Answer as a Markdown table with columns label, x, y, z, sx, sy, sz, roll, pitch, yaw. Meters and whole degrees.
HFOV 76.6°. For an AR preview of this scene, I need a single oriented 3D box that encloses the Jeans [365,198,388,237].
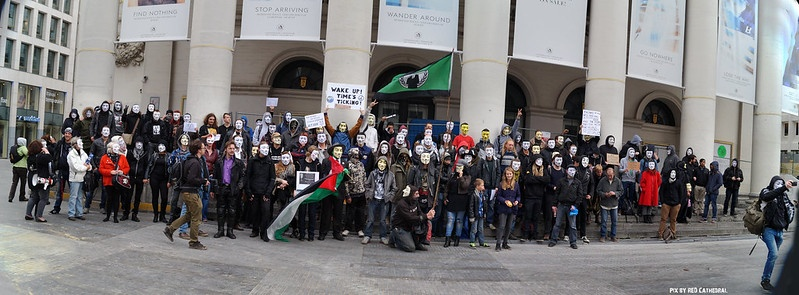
| label | x | y | z | sx | sy | sz | roll | pitch | yaw |
| --- | --- | --- | --- | --- | --- | --- | --- | --- | --- |
| Jeans | -1.774 | 5.631 | 40.319 | 1.520 | 3.044 | 1.510 | -4 | -11 | 44 |

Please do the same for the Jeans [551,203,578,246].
| label | x | y | z | sx | sy | sz | roll | pitch | yaw |
| --- | --- | --- | --- | --- | --- | --- | --- | --- | --- |
| Jeans | 13.351 | 6.375 | 40.988 | 1.763 | 3.512 | 1.670 | -3 | -10 | 39 |

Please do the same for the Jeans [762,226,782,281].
| label | x | y | z | sx | sy | sz | roll | pitch | yaw |
| --- | --- | --- | --- | --- | --- | --- | --- | --- | --- |
| Jeans | 27.491 | 7.873 | 37.435 | 1.638 | 3.908 | 0.689 | 7 | -9 | -24 |

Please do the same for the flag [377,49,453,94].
| label | x | y | z | sx | sy | sz | roll | pitch | yaw |
| --- | --- | --- | --- | --- | --- | --- | --- | --- | --- |
| flag | 1.516 | -6.984 | 46.077 | 7.341 | 4.268 | 0.490 | 3 | 39 | -4 |

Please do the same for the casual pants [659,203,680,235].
| label | x | y | z | sx | sy | sz | roll | pitch | yaw |
| --- | --- | --- | --- | --- | --- | --- | --- | --- | --- |
| casual pants | 22.580 | 6.209 | 42.731 | 1.532 | 2.744 | 1.756 | 2 | -8 | 13 |
